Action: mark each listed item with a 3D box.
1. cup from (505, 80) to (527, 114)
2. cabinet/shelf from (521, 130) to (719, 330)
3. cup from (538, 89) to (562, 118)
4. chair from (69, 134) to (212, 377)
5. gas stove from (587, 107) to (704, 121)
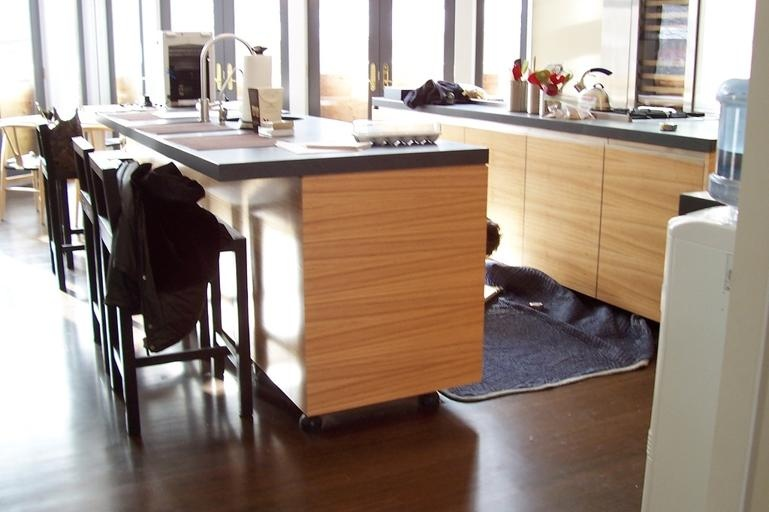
[{"bbox_3d":[0.905,-1.080,4.033,0.116,0.218,0.157,-1,15,7],"label":"cup"},{"bbox_3d":[1.199,-0.142,3.042,0.457,0.913,0.989,-10,20,-32],"label":"cabinet/shelf"},{"bbox_3d":[1.060,-0.972,3.797,0.129,0.164,0.093,2,16,16],"label":"cup"},{"bbox_3d":[-0.924,-0.015,2.367,0.507,0.737,0.228,14,15,36],"label":"chair"},{"bbox_3d":[1.688,-0.905,3.803,0.806,0.073,0.451,-13,18,-36],"label":"gas stove"}]
